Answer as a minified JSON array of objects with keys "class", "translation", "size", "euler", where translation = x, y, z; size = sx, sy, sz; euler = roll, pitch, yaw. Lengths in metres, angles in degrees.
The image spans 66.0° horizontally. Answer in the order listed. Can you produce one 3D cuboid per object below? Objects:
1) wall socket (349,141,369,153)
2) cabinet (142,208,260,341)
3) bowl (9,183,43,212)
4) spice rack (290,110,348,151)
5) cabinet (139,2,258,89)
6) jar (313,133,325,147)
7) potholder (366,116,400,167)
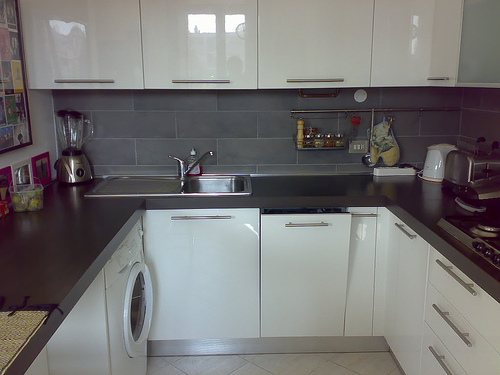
[{"class":"wall socket","translation":[0.815,-0.310,2.916],"size":[0.135,0.098,0.075],"euler":[1,16,7]},{"class":"cabinet","translation":[-0.306,0.470,2.639],"size":[0.678,0.846,0.670],"euler":[0,15,-5]},{"class":"bowl","translation":[-1.268,0.058,2.191],"size":[0.169,0.123,0.134],"euler":[-1,14,-15]},{"class":"spice rack","translation":[0.513,-0.410,2.874],"size":[0.459,0.342,0.268],"euler":[-1,8,-1]},{"class":"cabinet","translation":[-0.344,-0.938,2.464],"size":[0.559,0.564,0.389],"euler":[2,18,-5]},{"class":"jar","translation":[0.507,-0.353,2.902],"size":[0.079,0.083,0.085],"euler":[0,13,0]},{"class":"potholder","translation":[1.004,-0.346,2.859],"size":[0.209,0.356,0.071],"euler":[-11,11,0]}]
